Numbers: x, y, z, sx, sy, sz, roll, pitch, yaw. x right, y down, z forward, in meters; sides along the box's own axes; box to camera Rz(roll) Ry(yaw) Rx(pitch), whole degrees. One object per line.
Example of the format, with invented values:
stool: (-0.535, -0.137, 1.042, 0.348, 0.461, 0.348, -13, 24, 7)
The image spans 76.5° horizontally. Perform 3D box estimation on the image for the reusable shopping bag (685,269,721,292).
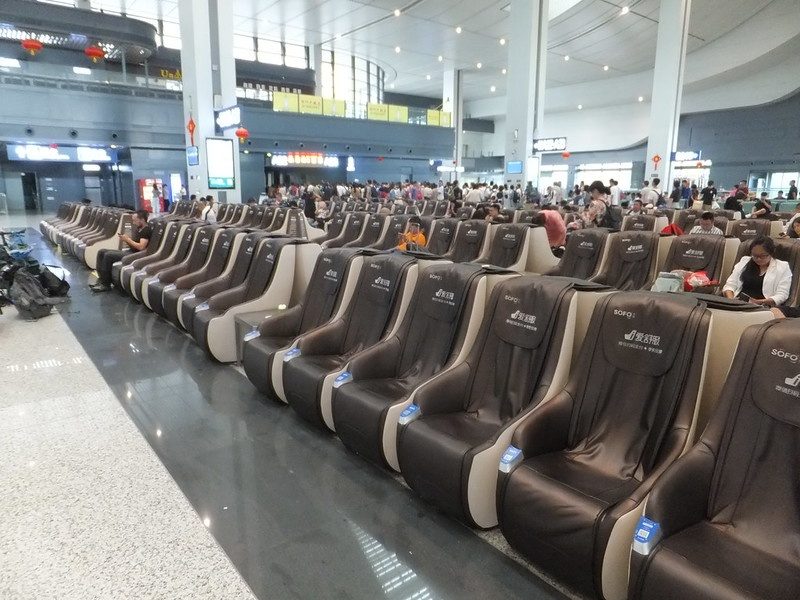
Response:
reusable shopping bag: (2.986, -0.191, 4.976, 0.302, 0.117, 0.252, -5, 7, -33)

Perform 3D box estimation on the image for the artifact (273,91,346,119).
artifact: (-3.673, -7.884, 20.477, 3.185, 0.779, 0.280, -9, 16, -37)

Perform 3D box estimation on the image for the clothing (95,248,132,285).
clothing: (-4.479, -0.539, 8.045, 0.570, 0.763, 0.528, 4, 2, -27)

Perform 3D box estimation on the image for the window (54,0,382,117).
window: (-6.994, -8.974, 18.610, 6.303, 1.729, 6.313, 6, 6, 6)

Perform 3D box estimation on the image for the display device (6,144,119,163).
display device: (-12.168, -5.332, 18.264, 0.919, 0.511, 3.099, 12, 17, 41)

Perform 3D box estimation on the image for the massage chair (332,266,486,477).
massage chair: (0.146, 0.358, 3.756, 1.350, 1.633, 0.956, -5, 10, -39)
